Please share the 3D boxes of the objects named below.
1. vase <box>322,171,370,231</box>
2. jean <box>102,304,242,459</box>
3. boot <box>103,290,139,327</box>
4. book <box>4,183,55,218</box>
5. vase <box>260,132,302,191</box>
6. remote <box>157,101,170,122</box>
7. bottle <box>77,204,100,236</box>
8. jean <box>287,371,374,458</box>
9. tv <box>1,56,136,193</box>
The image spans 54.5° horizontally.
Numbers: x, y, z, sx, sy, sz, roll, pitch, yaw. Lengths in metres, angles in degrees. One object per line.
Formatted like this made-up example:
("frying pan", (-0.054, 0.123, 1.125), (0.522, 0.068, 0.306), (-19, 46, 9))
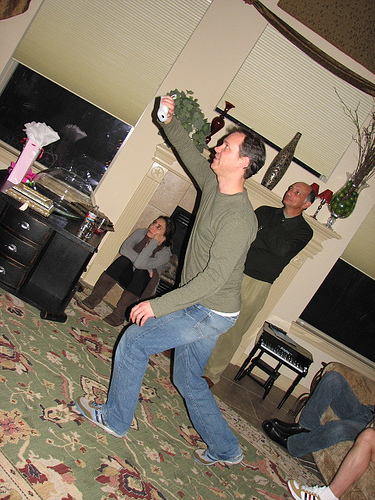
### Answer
("vase", (1.744, -0.572, 4.027), (0.427, 0.563, 0.396), (37, 6, 41))
("jean", (-0.056, 0.564, 1.901), (0.683, 0.643, 0.706), (1, 11, -8))
("boot", (-0.614, 0.531, 3.327), (0.162, 0.304, 0.467), (32, 8, 12))
("book", (-1.067, -0.331, 2.449), (0.324, 0.203, 0.135), (33, 8, -11))
("vase", (1.014, -0.934, 3.820), (0.201, 0.763, 0.134), (41, 8, 1))
("remote", (-0.119, -0.678, 1.799), (0.055, 0.067, 0.033), (-19, 18, -42))
("bottle", (-0.774, -0.228, 2.809), (0.081, 0.085, 0.332), (50, 43, -21))
("jean", (1.040, 1.208, 2.669), (0.402, 0.754, 0.482), (64, 18, -46))
("tv", (-1.187, -1.333, 3.692), (1.566, 0.969, 0.029), (31, 4, -4))
